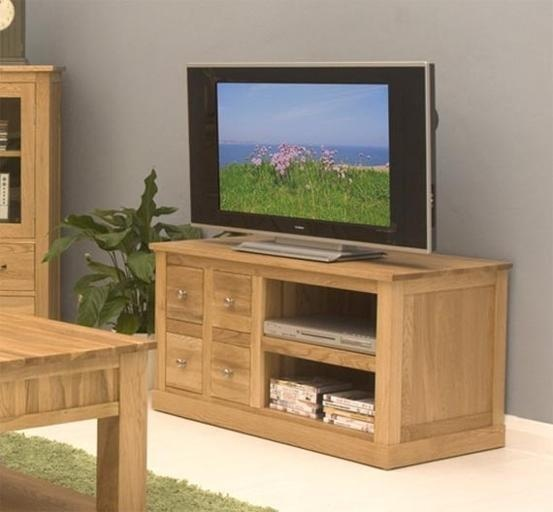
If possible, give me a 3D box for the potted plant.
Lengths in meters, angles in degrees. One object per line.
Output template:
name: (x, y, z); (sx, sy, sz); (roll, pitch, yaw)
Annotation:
potted plant: (-0.888, 0.075, 3.608); (1.193, 0.912, 0.583); (12, -16, 25)
